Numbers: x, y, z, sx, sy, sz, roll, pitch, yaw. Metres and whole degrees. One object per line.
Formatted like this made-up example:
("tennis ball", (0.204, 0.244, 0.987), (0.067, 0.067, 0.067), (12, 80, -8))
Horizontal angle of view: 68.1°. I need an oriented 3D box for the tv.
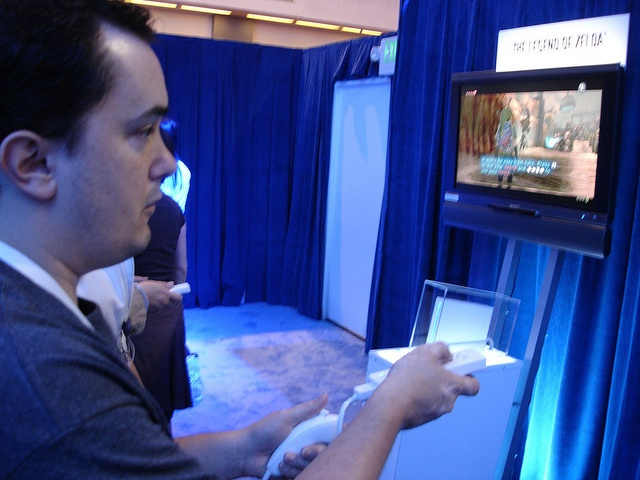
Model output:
("tv", (0.977, -0.357, 2.147), (0.113, 0.941, 0.894), (-2, 11, -33))
